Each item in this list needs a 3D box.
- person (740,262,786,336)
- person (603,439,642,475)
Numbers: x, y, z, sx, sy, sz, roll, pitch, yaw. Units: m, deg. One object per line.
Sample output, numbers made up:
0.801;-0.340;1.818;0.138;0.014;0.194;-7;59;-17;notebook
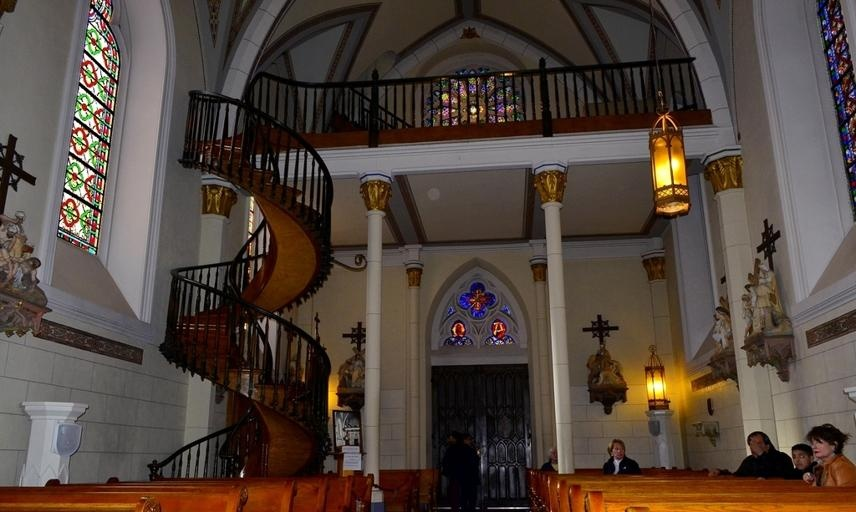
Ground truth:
5.919;0.801;11.551;0.469;1.340;0.805;8;-27;1;person
3.644;3.857;12.444;0.741;0.698;0.392;-6;-15;24;person
